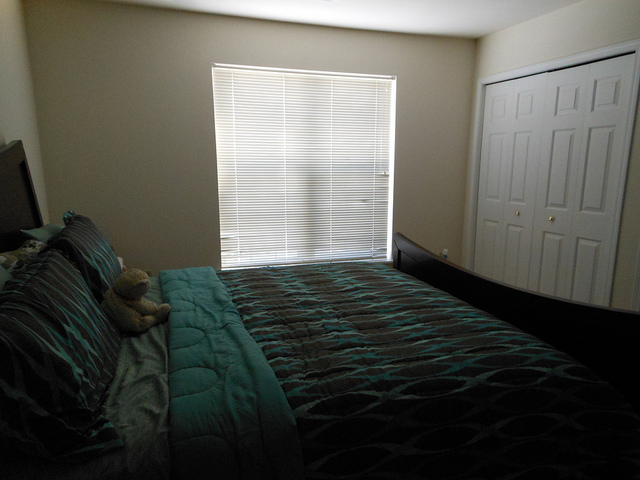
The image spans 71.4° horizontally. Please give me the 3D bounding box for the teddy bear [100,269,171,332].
[{"bbox_3d":[-0.878,0.278,2.136,0.244,0.275,0.295,-10,15,-43],"label":"teddy bear"}]

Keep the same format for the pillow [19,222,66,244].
[{"bbox_3d":[-1.556,-0.043,2.544,0.188,0.043,0.178,23,16,16],"label":"pillow"}]
